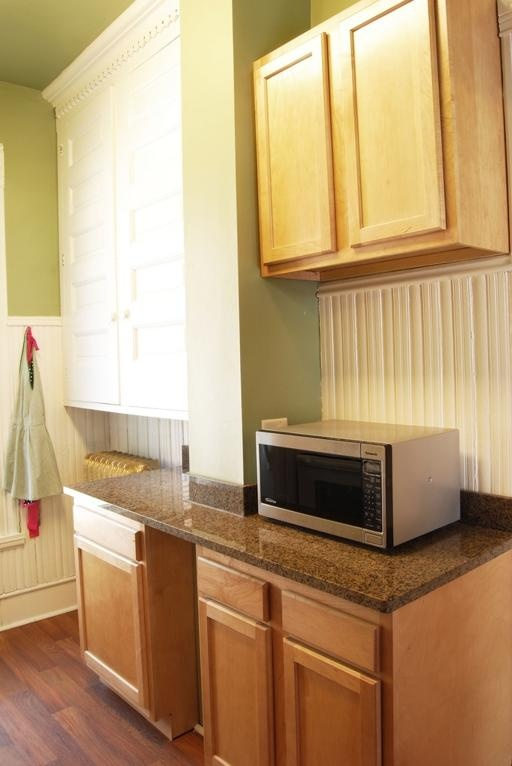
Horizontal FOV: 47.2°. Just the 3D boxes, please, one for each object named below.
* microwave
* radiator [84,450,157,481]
[{"bbox_3d":[0.225,0.246,1.473,0.536,0.250,0.316,-2,2,25],"label":"microwave"},{"bbox_3d":[-0.694,0.438,3.011,0.192,0.091,0.676,-4,2,-35],"label":"radiator"}]
